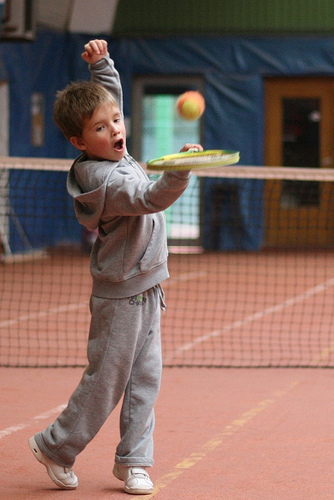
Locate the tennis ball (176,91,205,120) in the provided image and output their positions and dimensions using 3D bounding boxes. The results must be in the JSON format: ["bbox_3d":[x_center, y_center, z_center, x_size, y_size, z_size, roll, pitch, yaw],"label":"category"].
[{"bbox_3d":[0.101,-0.614,3.063,0.083,0.126,0.108,3,7,-7],"label":"tennis ball"}]

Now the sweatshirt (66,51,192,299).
[{"bbox_3d":[-0.157,-0.087,2.702,0.411,0.582,0.669,-2,5,-7],"label":"sweatshirt"}]

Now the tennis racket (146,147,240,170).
[{"bbox_3d":[0.091,-0.318,2.479,0.301,0.088,0.322,-1,5,5],"label":"tennis racket"}]

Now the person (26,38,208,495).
[{"bbox_3d":[-0.197,0.180,2.824,0.786,1.704,0.492,1,6,29],"label":"person"}]
